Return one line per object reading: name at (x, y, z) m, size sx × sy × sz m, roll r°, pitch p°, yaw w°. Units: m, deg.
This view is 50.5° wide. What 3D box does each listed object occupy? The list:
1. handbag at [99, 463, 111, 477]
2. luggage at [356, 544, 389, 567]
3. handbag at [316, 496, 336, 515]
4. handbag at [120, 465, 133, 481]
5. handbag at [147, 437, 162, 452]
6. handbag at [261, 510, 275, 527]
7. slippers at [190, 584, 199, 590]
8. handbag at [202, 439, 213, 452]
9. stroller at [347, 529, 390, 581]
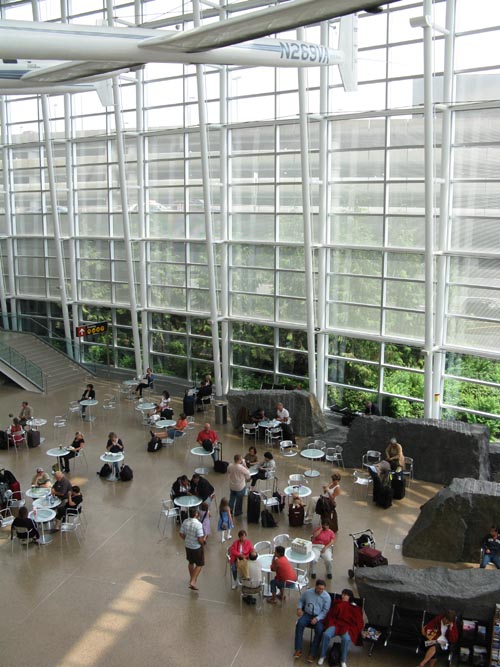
handbag at (-3.876, 3.620, 13.914) m, size 0.353 × 0.342 × 0.236 m, roll -6°, pitch -9°, yaw 35°
luggage at (1.977, 3.696, 8.763) m, size 0.366 × 0.156 × 0.403 m, roll -4°, pitch 10°, yaw -41°
handbag at (1.461, 3.395, 10.577) m, size 0.399 × 0.380 × 0.312 m, roll -7°, pitch 17°, yaw -5°
handbag at (-3.196, 3.600, 13.637) m, size 0.251 × 0.442 × 0.379 m, roll -3°, pitch 1°, yaw 19°
handbag at (-2.843, 3.304, 15.744) m, size 0.271 × 0.474 × 0.376 m, roll 7°, pitch 9°, yaw 30°
handbag at (0.358, 3.840, 10.977) m, size 0.167 × 0.288 × 0.294 m, roll -11°, pitch 8°, yaw -10°
slippers at (-0.918, 4.159, 8.716) m, size 0.166 × 0.062 × 0.085 m, roll 4°, pitch 4°, yaw 27°
handbag at (-1.098, 2.836, 13.441) m, size 0.295 × 0.276 × 0.246 m, roll -3°, pitch -4°, yaw -9°
stroller at (2.007, 3.761, 8.973) m, size 0.541 × 0.655 × 0.680 m, roll 7°, pitch -7°, yaw -34°
